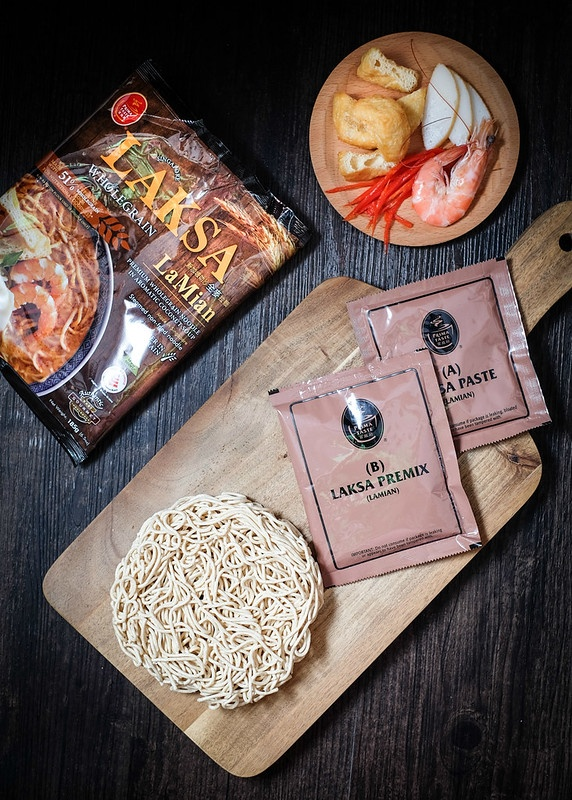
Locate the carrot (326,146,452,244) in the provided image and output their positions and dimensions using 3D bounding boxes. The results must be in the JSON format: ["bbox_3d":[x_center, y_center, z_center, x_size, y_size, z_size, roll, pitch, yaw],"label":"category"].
[{"bbox_3d":[0.188,-0.381,1.302,0.205,0.032,0.149,-44,93,3],"label":"carrot"}]

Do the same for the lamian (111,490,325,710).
[{"bbox_3d":[-0.117,0.339,1.181,0.345,0.127,0.335,31,72,16],"label":"lamian"}]
